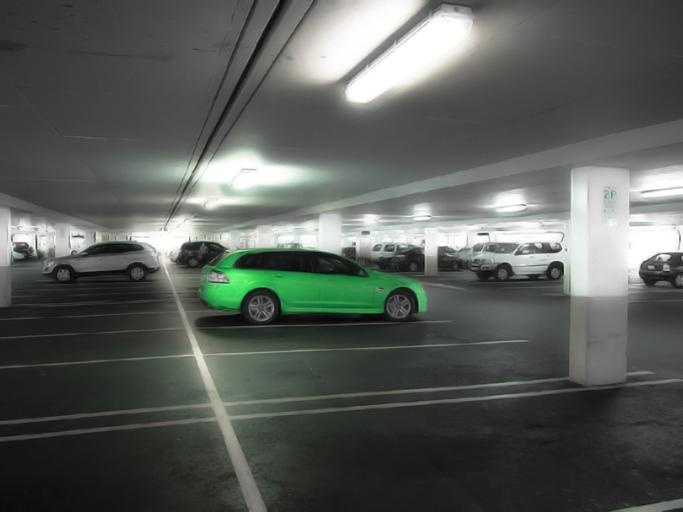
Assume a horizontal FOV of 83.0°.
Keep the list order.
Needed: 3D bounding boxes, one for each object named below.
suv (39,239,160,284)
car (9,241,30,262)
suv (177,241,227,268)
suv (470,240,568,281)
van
[{"bbox_3d":[-12.768,0.341,20.657,5.398,1.881,2.418,2,-3,-25],"label":"suv"},{"bbox_3d":[-33.520,-0.374,40.406,1.362,2.108,4.798,0,-2,-38],"label":"car"},{"bbox_3d":[-10.329,-0.060,28.205,3.395,1.323,1.910,-8,2,-11],"label":"suv"},{"bbox_3d":[10.685,0.350,23.969,5.158,2.107,2.518,2,-1,-9],"label":"suv"},{"bbox_3d":[-0.713,0.849,11.199,5.709,1.774,2.411,0,-1,-12],"label":"van"}]
